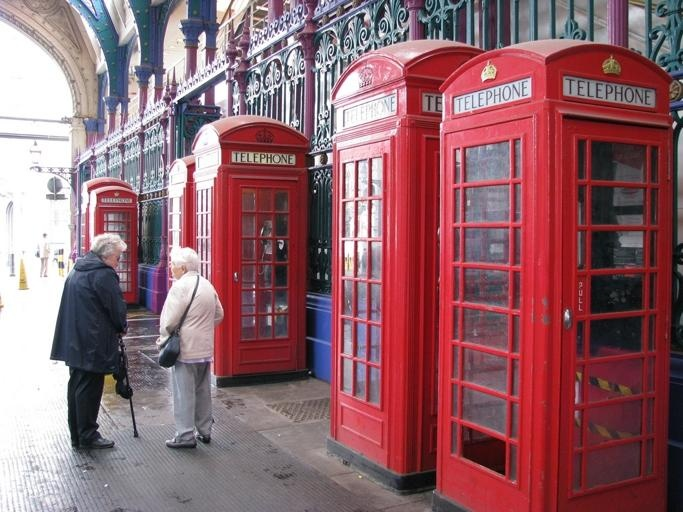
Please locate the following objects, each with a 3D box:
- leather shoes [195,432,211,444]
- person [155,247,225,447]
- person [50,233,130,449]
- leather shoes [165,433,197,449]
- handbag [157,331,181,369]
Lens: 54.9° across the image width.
[{"bbox_3d":[-1.401,1.849,6.640,0.079,0.064,0.153,2,4,-19],"label":"leather shoes"},{"bbox_3d":[-1.493,0.921,6.517,0.661,1.951,0.362,-2,4,-36],"label":"person"},{"bbox_3d":[-2.490,0.848,6.496,0.696,2.080,0.450,-1,4,-15],"label":"person"},{"bbox_3d":[-1.591,1.848,6.547,0.297,0.165,0.134,4,-3,3],"label":"leather shoes"},{"bbox_3d":[-1.681,0.947,6.403,0.156,0.430,0.396,18,-10,-22],"label":"handbag"}]
